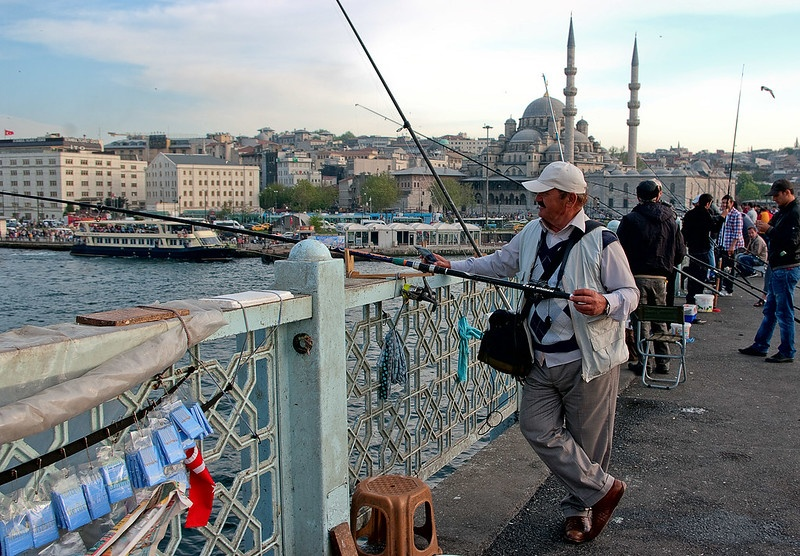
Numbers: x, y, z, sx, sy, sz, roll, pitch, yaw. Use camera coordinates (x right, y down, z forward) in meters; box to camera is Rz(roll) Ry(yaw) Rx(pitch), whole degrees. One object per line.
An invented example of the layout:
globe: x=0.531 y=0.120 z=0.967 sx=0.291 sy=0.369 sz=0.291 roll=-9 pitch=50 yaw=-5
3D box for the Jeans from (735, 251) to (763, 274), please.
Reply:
Jeans: x=4.981 y=-0.229 z=11.998 sx=0.290 sy=0.190 sz=0.269 roll=-15 pitch=1 yaw=1

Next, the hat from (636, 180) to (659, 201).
hat: x=1.939 y=-0.688 z=6.534 sx=0.131 sy=0.078 sz=0.201 roll=1 pitch=51 yaw=27

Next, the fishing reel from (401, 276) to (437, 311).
fishing reel: x=0.094 y=0.079 z=4.195 sx=0.238 sy=0.149 sz=0.080 roll=18 pitch=-4 yaw=-25

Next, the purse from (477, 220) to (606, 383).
purse: x=0.659 y=0.069 z=4.063 sx=0.450 sy=0.828 sz=0.709 roll=4 pitch=14 yaw=-24

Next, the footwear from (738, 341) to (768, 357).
footwear: x=3.032 y=0.611 z=7.258 sx=0.261 sy=0.125 sz=0.100 roll=3 pitch=7 yaw=33

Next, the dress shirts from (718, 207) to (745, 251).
dress shirts: x=4.199 y=-0.565 z=10.509 sx=0.385 sy=0.670 sz=0.609 roll=-2 pitch=3 yaw=14

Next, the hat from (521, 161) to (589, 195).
hat: x=0.756 y=-0.468 z=4.040 sx=0.238 sy=0.125 sz=0.165 roll=2 pitch=5 yaw=-1

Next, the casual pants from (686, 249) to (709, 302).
casual pants: x=3.488 y=-0.017 z=9.840 sx=0.232 sy=0.854 sz=0.233 roll=-7 pitch=27 yaw=8

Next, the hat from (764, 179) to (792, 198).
hat: x=3.090 y=-0.735 z=6.866 sx=0.186 sy=0.107 sz=0.135 roll=-2 pitch=9 yaw=17

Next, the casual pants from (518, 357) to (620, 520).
casual pants: x=0.835 y=0.723 z=4.075 sx=0.466 sy=0.978 sz=0.348 roll=-2 pitch=12 yaw=9

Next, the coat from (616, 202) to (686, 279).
coat: x=1.968 y=-0.287 z=6.576 sx=0.585 sy=0.585 sz=0.383 roll=1 pitch=-3 yaw=-12

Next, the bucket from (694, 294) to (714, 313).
bucket: x=3.421 y=0.287 z=9.455 sx=0.189 sy=0.173 sz=0.194 roll=0 pitch=0 yaw=0

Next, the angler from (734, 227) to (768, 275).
angler: x=5.180 y=-0.546 z=12.309 sx=0.428 sy=0.745 sz=0.360 roll=14 pitch=53 yaw=18

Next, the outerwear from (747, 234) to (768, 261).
outerwear: x=5.100 y=-0.424 z=12.026 sx=0.232 sy=0.402 sz=0.409 roll=-4 pitch=5 yaw=22
